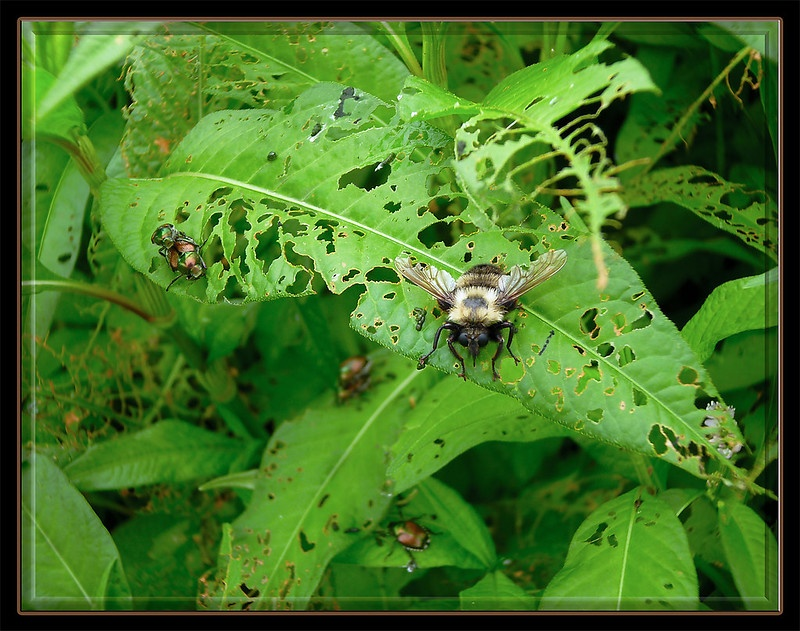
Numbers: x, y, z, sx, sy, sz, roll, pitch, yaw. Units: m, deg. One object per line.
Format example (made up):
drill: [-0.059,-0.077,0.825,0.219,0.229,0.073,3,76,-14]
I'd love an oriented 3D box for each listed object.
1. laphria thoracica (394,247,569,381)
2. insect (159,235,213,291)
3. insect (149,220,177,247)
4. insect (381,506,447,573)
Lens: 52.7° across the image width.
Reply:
laphria thoracica: [0.160,-0.015,1.574,0.316,0.252,0.133,2,-23,6]
insect: [-0.424,-0.113,1.609,0.089,0.097,0.029,-31,18,11]
insect: [-0.467,-0.164,1.582,0.035,0.051,0.025,0,13,-3]
insect: [0.029,0.499,1.812,0.154,0.136,0.043,-36,6,-32]
